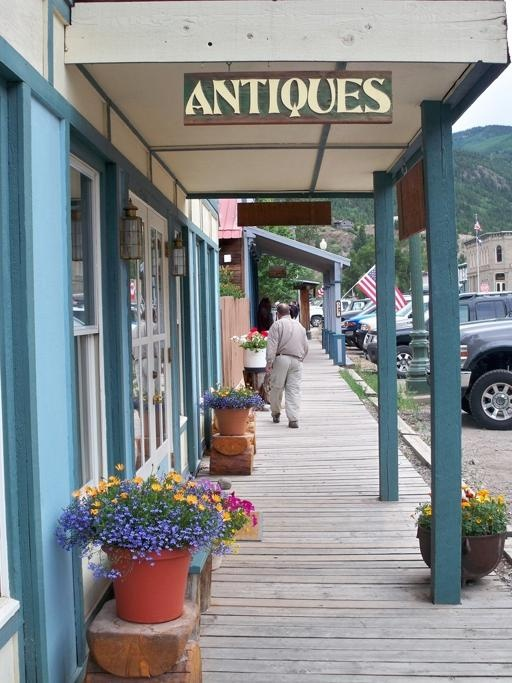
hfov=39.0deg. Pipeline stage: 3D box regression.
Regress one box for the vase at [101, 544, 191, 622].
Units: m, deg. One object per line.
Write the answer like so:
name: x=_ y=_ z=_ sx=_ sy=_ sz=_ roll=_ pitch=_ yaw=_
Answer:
vase: x=-0.391 y=0.883 z=2.627 sx=0.306 sy=0.297 sz=0.257 roll=0 pitch=1 yaw=-7

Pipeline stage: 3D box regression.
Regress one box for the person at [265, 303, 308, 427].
person: x=0.370 y=0.323 z=9.090 sx=0.493 sy=1.567 sz=1.084 roll=0 pitch=1 yaw=4

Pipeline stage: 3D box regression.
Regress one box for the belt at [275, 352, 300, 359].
belt: x=0.394 y=0.186 z=9.095 sx=0.301 sy=0.073 sz=0.130 roll=0 pitch=1 yaw=1

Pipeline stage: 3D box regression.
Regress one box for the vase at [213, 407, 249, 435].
vase: x=-0.251 y=0.749 z=6.812 sx=0.250 sy=0.210 sz=0.269 roll=0 pitch=-7 yaw=10

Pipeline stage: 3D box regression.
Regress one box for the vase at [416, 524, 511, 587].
vase: x=1.113 y=1.157 z=3.926 sx=0.331 sy=0.288 sz=0.374 roll=-1 pitch=-2 yaw=15

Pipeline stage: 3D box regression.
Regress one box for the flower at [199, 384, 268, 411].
flower: x=-0.245 y=0.573 z=7.025 sx=0.559 sy=0.191 sz=0.613 roll=0 pitch=1 yaw=-8

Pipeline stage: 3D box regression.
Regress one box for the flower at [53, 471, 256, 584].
flower: x=-0.395 y=0.692 z=2.856 sx=0.677 sy=0.356 sz=0.621 roll=1 pitch=-10 yaw=2

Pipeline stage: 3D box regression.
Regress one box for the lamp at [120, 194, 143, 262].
lamp: x=-0.651 y=-0.582 z=3.764 sx=0.105 sy=0.340 sz=0.239 roll=0 pitch=1 yaw=-9

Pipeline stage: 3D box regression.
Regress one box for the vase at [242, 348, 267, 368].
vase: x=-0.047 y=0.277 z=11.459 sx=0.301 sy=0.317 sz=0.321 roll=0 pitch=-2 yaw=5

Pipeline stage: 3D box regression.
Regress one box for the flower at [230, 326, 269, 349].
flower: x=-0.101 y=-0.022 z=11.201 sx=0.344 sy=0.255 sz=0.372 roll=0 pitch=5 yaw=30
